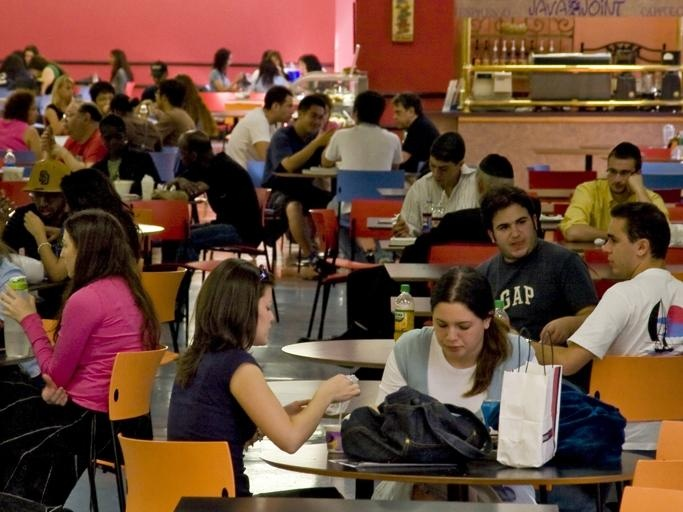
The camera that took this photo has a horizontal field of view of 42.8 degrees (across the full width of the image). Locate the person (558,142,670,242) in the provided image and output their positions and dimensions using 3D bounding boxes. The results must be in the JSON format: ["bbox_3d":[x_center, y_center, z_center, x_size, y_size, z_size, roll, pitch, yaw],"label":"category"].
[{"bbox_3d":[1.732,-0.276,5.381,0.618,0.837,0.472,6,33,20],"label":"person"}]

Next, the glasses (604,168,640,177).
[{"bbox_3d":[1.730,-0.508,5.267,0.179,0.055,0.135,3,8,23],"label":"glasses"}]

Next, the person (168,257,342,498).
[{"bbox_3d":[-0.231,0.469,2.914,0.605,0.909,0.511,3,-11,-24],"label":"person"}]

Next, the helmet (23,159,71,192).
[{"bbox_3d":[-1.660,-0.452,4.897,0.221,0.170,0.311,5,11,0],"label":"helmet"}]

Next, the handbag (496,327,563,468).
[{"bbox_3d":[0.560,0.467,2.575,0.179,0.259,0.175,-4,2,-38],"label":"handbag"}]

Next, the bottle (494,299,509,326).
[{"bbox_3d":[0.645,0.219,3.446,0.050,0.099,0.076,1,11,-8],"label":"bottle"}]

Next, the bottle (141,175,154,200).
[{"bbox_3d":[-1.501,-0.532,6.695,0.090,0.174,0.333,-3,8,-14],"label":"bottle"}]

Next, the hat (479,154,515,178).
[{"bbox_3d":[0.874,-0.481,4.791,0.123,0.137,0.162,25,16,17],"label":"hat"}]
